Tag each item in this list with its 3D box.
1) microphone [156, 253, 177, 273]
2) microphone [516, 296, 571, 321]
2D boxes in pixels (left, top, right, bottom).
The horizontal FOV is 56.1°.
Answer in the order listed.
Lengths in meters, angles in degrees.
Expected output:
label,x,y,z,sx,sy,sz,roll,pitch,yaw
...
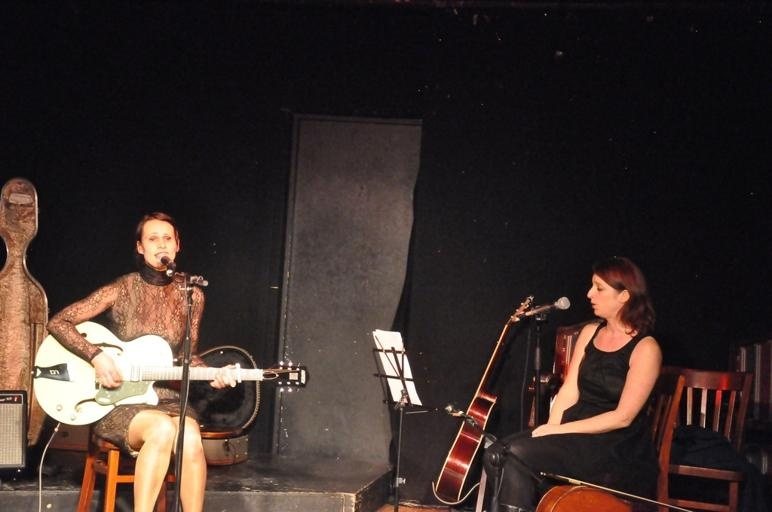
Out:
label,x,y,z,sx,sy,sz,roll,pitch,yaw
microphone,-1.563,0.053,5.185,0.100,0.100,0.338,-8,4,-30
microphone,1.312,0.437,5.994,0.085,0.083,0.423,-23,-6,-32
